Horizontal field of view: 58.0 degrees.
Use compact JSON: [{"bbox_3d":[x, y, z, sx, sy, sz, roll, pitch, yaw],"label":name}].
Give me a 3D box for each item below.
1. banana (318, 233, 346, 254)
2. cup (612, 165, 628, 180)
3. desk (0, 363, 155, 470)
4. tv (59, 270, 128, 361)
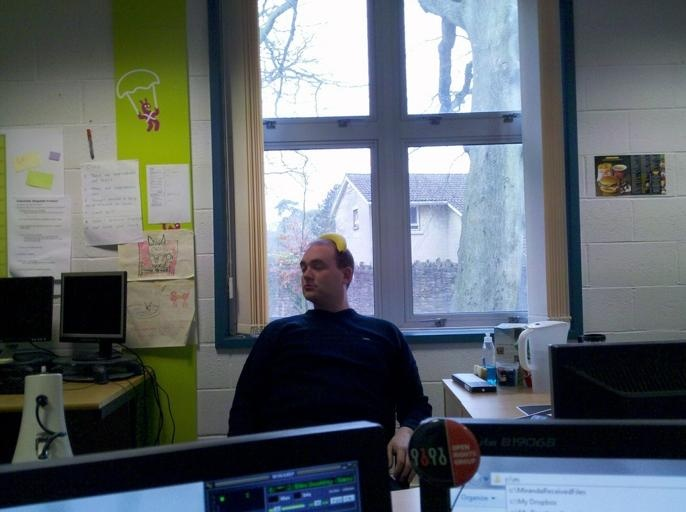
[{"bbox_3d":[-0.035,-0.069,2.941,0.084,0.106,0.038,-38,0,11],"label":"banana"},{"bbox_3d":[1.573,-0.486,3.535,0.064,0.062,0.081,-6,5,-4],"label":"cup"},{"bbox_3d":[-1.331,0.827,3.119,0.539,0.523,0.541,0,-3,-11],"label":"desk"},{"bbox_3d":[-1.332,0.309,3.342,0.451,0.561,0.194,-2,-12,1],"label":"tv"}]
